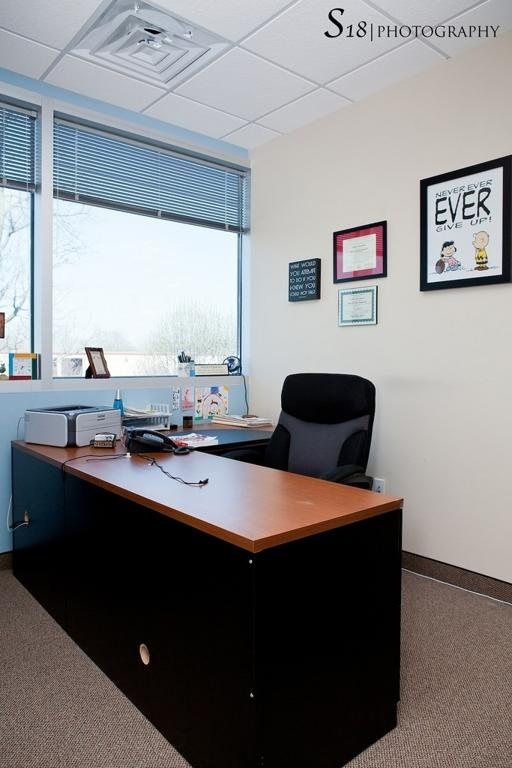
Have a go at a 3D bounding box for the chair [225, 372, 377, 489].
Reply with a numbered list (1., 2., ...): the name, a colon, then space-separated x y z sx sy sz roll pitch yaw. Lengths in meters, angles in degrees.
1. chair: 0.250 0.291 2.535 0.497 0.675 0.536 12 -9 -40

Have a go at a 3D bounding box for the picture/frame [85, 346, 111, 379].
1. picture/frame: -0.894 -0.122 3.205 0.111 0.180 0.168 1 2 28

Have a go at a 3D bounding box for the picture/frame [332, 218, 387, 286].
1. picture/frame: 0.579 -0.726 3.066 0.029 0.403 0.384 3 -3 -37
